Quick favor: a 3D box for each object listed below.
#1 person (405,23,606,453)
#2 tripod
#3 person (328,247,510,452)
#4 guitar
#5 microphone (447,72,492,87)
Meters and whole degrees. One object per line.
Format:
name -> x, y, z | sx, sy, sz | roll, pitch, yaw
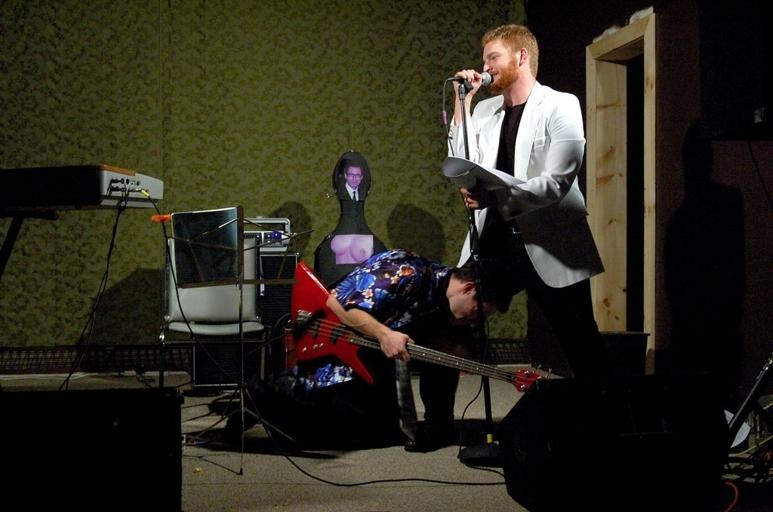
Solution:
person -> 0.669, -0.084, 4.237 | 0.955, 2.234, 0.683 | 2, 11, 14
tripod -> -0.881, 0.737, 4.674 | 0.942, 1.041, 0.763 | 0, -6, 6
person -> 0.146, 0.379, 4.210 | 0.691, 1.299, 0.195 | 2, -5, 20
guitar -> 0.014, 0.201, 4.154 | 1.217, 0.132, 0.460 | -34, 13, 37
microphone -> 0.398, -0.905, 4.066 | 0.300, 0.078, 0.085 | -2, 5, -32
